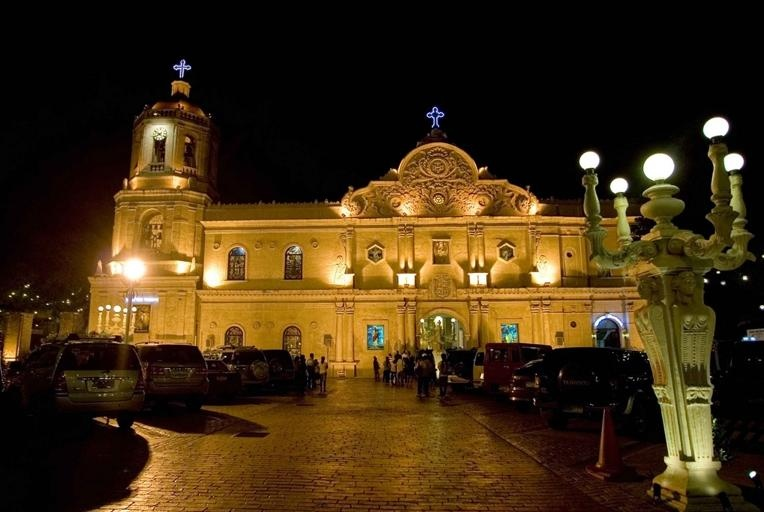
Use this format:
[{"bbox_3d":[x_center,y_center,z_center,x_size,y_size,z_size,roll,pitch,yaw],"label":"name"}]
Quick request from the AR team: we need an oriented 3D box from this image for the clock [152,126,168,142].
[{"bbox_3d":[-15.173,-8.433,41.738,0.942,0.892,0.124,19,12,-11],"label":"clock"}]
